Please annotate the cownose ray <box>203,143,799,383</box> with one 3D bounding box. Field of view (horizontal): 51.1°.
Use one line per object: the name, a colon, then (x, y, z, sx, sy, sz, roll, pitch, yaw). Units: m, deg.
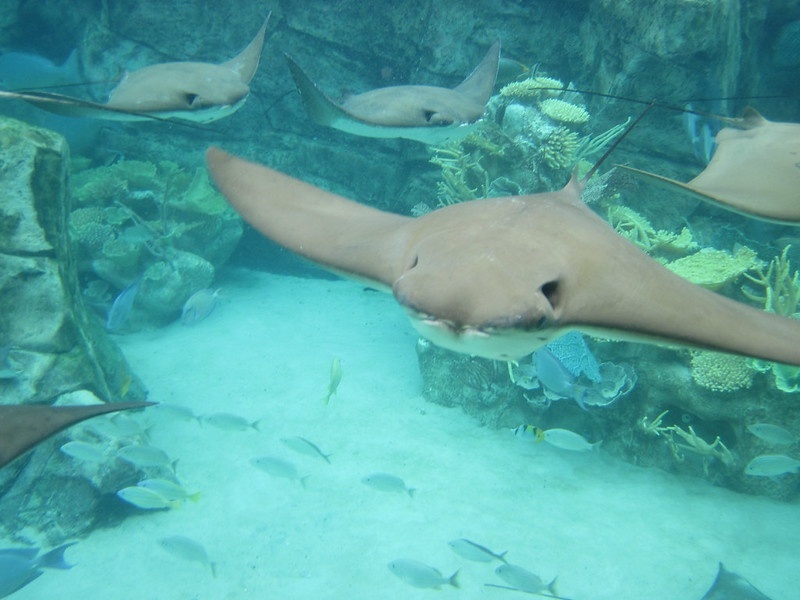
cownose ray: (0.938, -0.221, 7.852, 5.566, 1.076, 1.362, 18, 33, 5)
